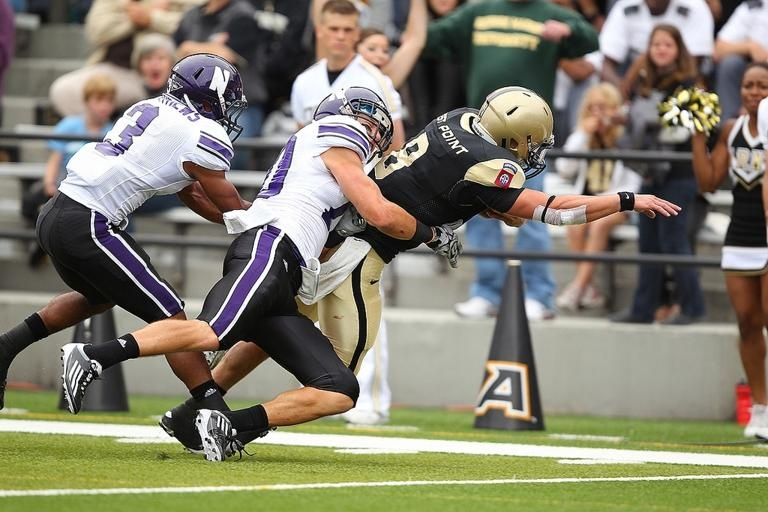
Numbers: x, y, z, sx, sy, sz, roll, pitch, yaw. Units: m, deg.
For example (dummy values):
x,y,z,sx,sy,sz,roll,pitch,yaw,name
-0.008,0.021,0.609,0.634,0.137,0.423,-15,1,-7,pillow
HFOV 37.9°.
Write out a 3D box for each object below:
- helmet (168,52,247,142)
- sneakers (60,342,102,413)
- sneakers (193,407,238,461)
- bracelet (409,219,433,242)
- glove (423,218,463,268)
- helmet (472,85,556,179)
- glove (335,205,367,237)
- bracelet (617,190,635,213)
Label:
x,y,z,sx,sy,sz,roll,pitch,yaw,name
-1.019,-0.941,6.430,0.465,0.430,0.438,18,15,10,helmet
-1.603,0.616,5.994,0.235,0.415,0.148,-3,2,2,sneakers
-0.891,0.973,6.074,0.222,0.295,0.164,0,5,-31,sneakers
0.223,-0.146,6.240,0.100,0.065,0.130,31,9,27,bracelet
0.373,-0.059,6.387,0.090,0.228,0.237,-8,32,9,glove
0.722,-0.732,6.455,0.562,0.448,0.396,7,20,-22,helmet
-0.192,-0.200,6.376,0.200,0.175,0.143,11,14,10,glove
1.324,-0.304,6.170,0.114,0.093,0.101,6,-14,7,bracelet
